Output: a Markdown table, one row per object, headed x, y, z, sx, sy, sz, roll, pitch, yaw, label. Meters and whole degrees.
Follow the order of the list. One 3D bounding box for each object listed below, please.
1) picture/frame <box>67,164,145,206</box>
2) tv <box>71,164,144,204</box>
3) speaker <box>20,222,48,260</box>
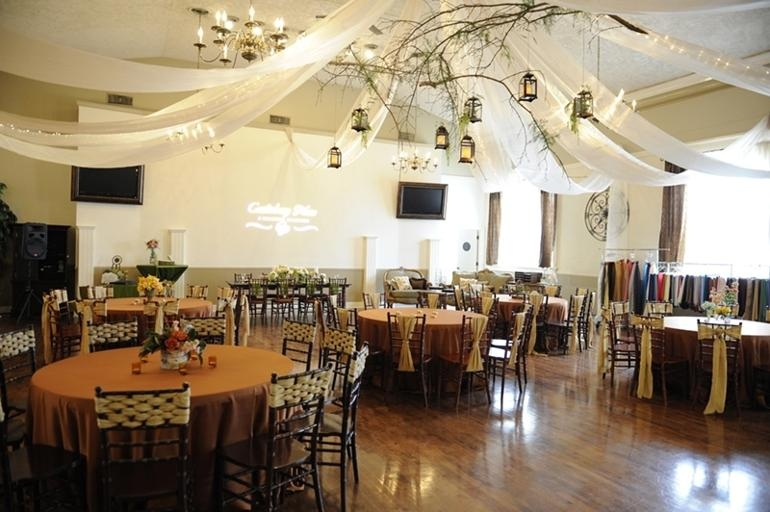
| x | y | z | sx | sy | sz | roll | pitch | yaw | label |
| --- | --- | --- | --- | --- | --- | --- | --- | --- | --- |
| -5.754 | -1.449 | 11.355 | 1.105 | 1.143 | 0.118 | 0 | 4 | -24 | picture/frame |
| -5.763 | -1.460 | 11.302 | 1.105 | 1.141 | 0.116 | 0 | 4 | -23 | tv |
| -7.086 | -0.305 | 11.123 | 0.410 | 0.698 | 0.205 | 0 | 2 | -38 | speaker |
